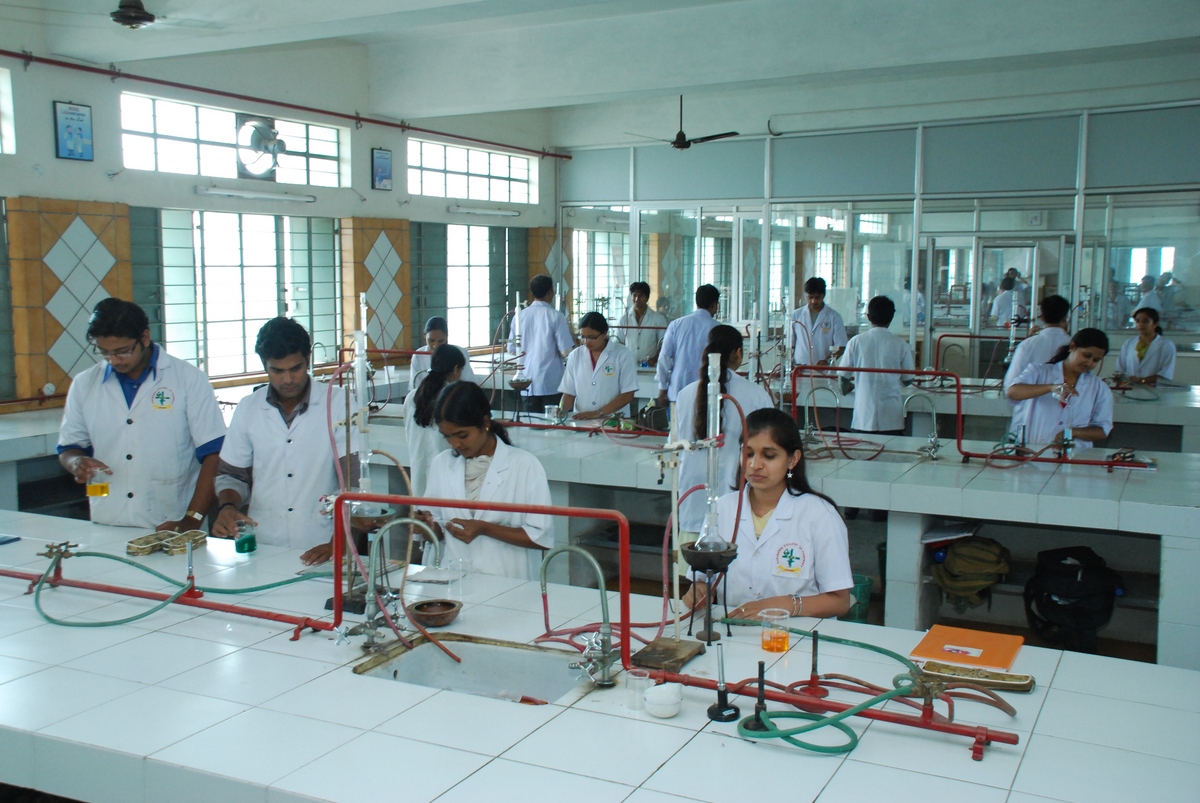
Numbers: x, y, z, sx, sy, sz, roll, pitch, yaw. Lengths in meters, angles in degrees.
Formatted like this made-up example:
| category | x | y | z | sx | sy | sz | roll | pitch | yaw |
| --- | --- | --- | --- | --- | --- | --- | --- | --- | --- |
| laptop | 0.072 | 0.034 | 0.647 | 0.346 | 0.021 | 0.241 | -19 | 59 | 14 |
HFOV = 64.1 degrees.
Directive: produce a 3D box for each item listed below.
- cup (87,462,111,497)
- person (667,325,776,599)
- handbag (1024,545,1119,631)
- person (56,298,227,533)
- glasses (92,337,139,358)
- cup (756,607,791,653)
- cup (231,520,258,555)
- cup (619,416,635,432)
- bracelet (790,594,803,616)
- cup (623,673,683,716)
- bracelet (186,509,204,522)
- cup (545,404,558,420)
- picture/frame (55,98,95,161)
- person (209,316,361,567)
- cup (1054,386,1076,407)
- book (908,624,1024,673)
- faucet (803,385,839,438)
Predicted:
| category | x | y | z | sx | sy | sz | roll | pitch | yaw |
| --- | --- | --- | --- | --- | --- | --- | --- | --- | --- |
| cup | -1.952 | 0.303 | 3.738 | 0.079 | 0.132 | 0.115 | -4 | 8 | -29 |
| person | 0.546 | 0.207 | 4.586 | 0.515 | 1.330 | 0.450 | 3 | 44 | 6 |
| handbag | 2.243 | 0.906 | 4.574 | 0.393 | 0.395 | 0.238 | 3 | 7 | 23 |
| person | -1.886 | 0.199 | 3.978 | 0.677 | 1.166 | 0.601 | 2 | 13 | -12 |
| glasses | -1.861 | -0.215 | 3.740 | 0.101 | 0.032 | 0.103 | 4 | 13 | 2 |
| cup | 0.540 | 0.717 | 3.017 | 0.115 | 0.125 | 0.114 | 1 | 0 | 0 |
| cup | -1.347 | 0.523 | 3.655 | 0.080 | 0.108 | 0.105 | -3 | 7 | -22 |
| cup | 0.165 | 0.145 | 5.741 | 0.074 | 0.051 | 0.076 | 1 | 3 | 0 |
| bracelet | 0.655 | 0.676 | 3.194 | 0.044 | 0.067 | 0.062 | 4 | 18 | 7 |
| cup | 0.148 | 0.833 | 2.727 | 0.174 | 0.086 | 0.113 | 5 | 8 | 37 |
| bracelet | -1.614 | 0.458 | 3.846 | 0.046 | 0.018 | 0.041 | 11 | 15 | 35 |
| cup | -0.307 | 0.074 | 6.087 | 0.062 | 0.092 | 0.094 | 7 | 8 | 35 |
| picture/frame | -3.969 | -2.026 | 7.270 | 0.084 | 0.434 | 0.356 | 3 | 7 | 24 |
| person | -1.201 | 0.134 | 3.757 | 0.951 | 0.912 | 0.507 | 5 | 9 | 39 |
| cup | 2.412 | -0.026 | 4.974 | 0.024 | 0.099 | 0.041 | -36 | 47 | -24 |
| book | 1.106 | 0.755 | 2.907 | 0.285 | 0.068 | 0.269 | 3 | 7 | 28 |
| faucet | 1.629 | 0.075 | 7.216 | 0.255 | 0.349 | 0.276 | 9 | -5 | -35 |
